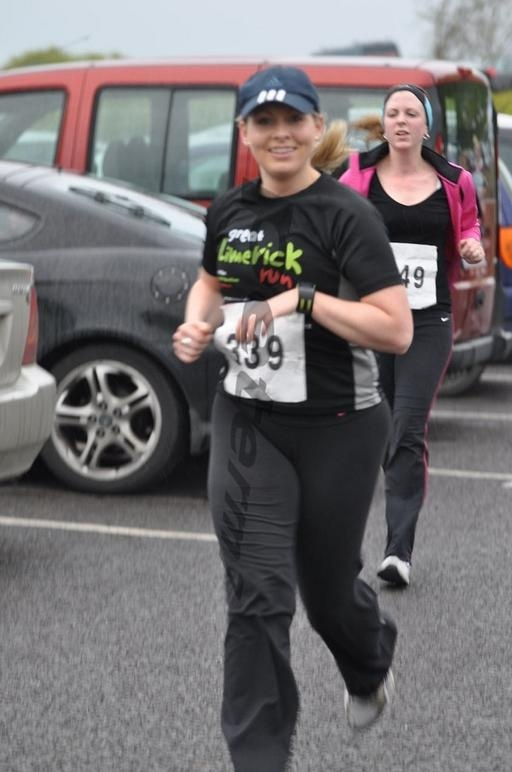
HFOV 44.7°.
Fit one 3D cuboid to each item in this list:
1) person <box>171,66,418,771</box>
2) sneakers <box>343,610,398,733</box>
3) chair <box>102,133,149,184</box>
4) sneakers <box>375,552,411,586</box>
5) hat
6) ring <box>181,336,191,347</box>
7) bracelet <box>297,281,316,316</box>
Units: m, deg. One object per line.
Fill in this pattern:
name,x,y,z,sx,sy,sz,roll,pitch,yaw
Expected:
person,0.082,0.142,1.166,0.433,1.067,0.461,1,-2,-9
sneakers,0.260,0.688,1.478,0.102,0.342,0.138,10,20,19
chair,-0.983,-1.724,4.839,0.381,0.464,0.317,4,4,11
sneakers,0.568,0.768,2.593,0.081,0.090,0.182,4,-29,24
hat,0.039,-0.481,1.052,0.082,0.066,0.122,-2,-12,8
ring,-0.126,-0.081,1.113,0.014,0.016,0.004,9,0,16
bracelet,0.078,-0.140,0.999,0.027,0.049,0.040,1,-2,-4
